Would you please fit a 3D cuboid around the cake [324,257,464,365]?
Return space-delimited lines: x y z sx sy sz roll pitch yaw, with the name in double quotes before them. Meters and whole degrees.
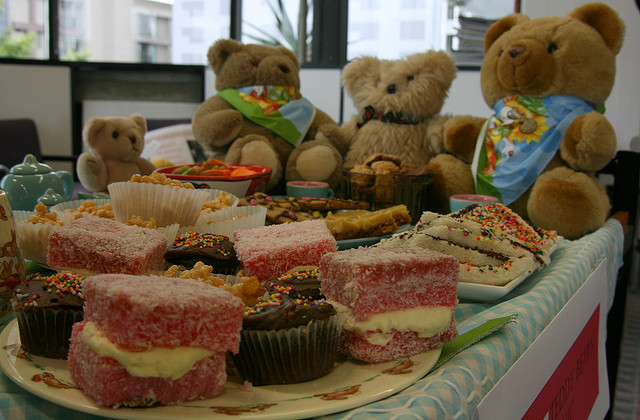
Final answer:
"cake" 0.147 0.166 1.142 0.319 0.221 0.190 -6 5 -19

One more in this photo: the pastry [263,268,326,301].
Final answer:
"pastry" -0.055 0.152 1.106 0.086 0.028 0.068 -1 13 4

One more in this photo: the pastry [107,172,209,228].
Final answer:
"pastry" -0.454 -0.012 1.458 0.204 0.093 0.200 -2 -4 -8

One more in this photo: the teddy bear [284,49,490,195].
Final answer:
"teddy bear" 0.266 -0.288 1.988 0.700 0.618 0.341 4 0 14

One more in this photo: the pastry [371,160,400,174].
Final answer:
"pastry" 0.211 -0.142 1.721 0.092 0.030 0.106 2 12 6

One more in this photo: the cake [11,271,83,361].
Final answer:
"cake" -0.521 0.201 1.034 0.156 0.117 0.142 4 0 -31

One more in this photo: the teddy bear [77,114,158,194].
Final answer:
"teddy bear" -0.735 -0.188 1.956 0.210 0.309 0.321 4 10 39

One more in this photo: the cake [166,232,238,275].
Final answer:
"cake" -0.268 0.090 1.232 0.102 0.076 0.112 6 2 25

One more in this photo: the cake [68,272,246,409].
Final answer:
"cake" -0.311 0.208 1.011 0.280 0.200 0.218 1 7 -23

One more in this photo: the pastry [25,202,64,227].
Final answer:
"pastry" -0.664 0.001 1.290 0.071 0.036 0.079 -1 9 -26

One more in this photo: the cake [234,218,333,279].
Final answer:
"cake" -0.041 0.088 1.286 0.207 0.069 0.199 2 10 -22

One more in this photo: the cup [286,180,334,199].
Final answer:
"cup" -0.040 -0.067 1.808 0.122 0.047 0.097 11 16 41

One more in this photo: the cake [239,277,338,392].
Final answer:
"cake" -0.060 0.234 1.078 0.199 0.151 0.199 5 9 32

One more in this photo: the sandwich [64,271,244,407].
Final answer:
"sandwich" -0.309 0.263 1.033 0.297 0.189 0.236 6 -10 -25

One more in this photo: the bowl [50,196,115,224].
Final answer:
"bowl" -0.626 -0.003 1.414 0.128 0.041 0.126 4 13 -1

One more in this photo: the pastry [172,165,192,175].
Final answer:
"pastry" -0.434 -0.124 1.687 0.032 0.013 0.036 -26 0 -6

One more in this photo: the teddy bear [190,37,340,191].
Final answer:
"teddy bear" -0.199 -0.368 2.093 0.586 0.626 0.436 1 -5 -19

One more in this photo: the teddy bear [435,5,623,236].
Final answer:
"teddy bear" 0.676 -0.308 1.744 0.530 0.703 0.314 7 14 27

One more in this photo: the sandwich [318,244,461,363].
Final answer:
"sandwich" 0.137 0.164 1.092 0.269 0.193 0.213 -5 6 -21

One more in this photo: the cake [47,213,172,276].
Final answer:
"cake" -0.450 0.074 1.151 0.143 0.064 0.179 13 11 1

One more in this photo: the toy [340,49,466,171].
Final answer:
"toy" 0.317 -0.339 2.025 0.523 0.506 0.246 4 5 25
